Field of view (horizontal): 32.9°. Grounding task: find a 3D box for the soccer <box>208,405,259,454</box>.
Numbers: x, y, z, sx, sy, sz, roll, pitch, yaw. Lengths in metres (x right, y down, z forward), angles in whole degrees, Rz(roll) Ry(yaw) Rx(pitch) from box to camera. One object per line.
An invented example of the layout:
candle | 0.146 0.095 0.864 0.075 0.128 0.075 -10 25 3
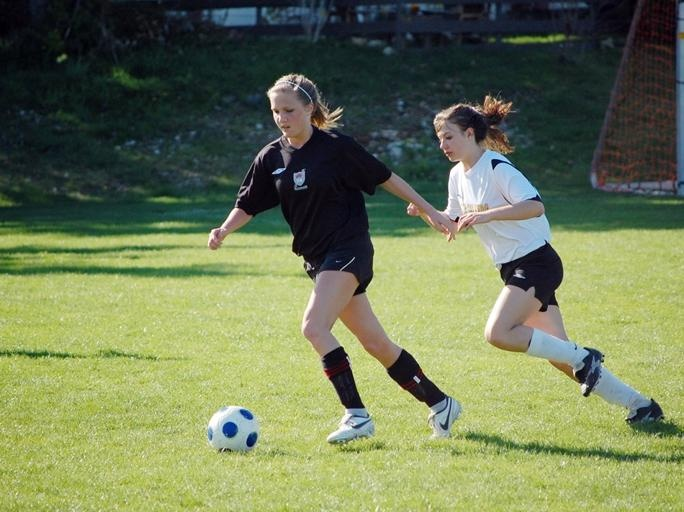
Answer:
soccer | -1.510 2.470 16.081 0.711 0.719 0.711 -5 -19 40

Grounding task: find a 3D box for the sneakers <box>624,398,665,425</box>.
sneakers | 4.240 2.181 16.253 0.511 0.294 0.260 -4 -2 -1
